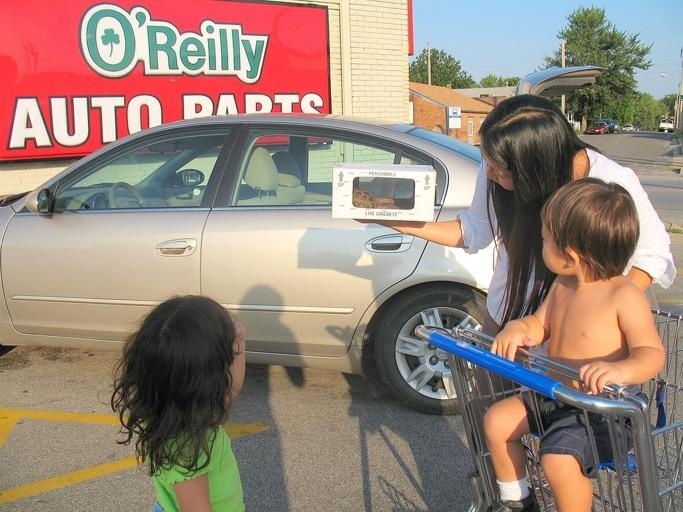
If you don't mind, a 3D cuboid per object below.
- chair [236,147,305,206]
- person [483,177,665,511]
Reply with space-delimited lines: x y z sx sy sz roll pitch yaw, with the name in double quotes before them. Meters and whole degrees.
"chair" -0.547 -0.558 3.965 0.494 0.559 0.446 1 1 -17
"person" 0.705 0.358 1.607 0.457 1.182 0.379 10 15 41
